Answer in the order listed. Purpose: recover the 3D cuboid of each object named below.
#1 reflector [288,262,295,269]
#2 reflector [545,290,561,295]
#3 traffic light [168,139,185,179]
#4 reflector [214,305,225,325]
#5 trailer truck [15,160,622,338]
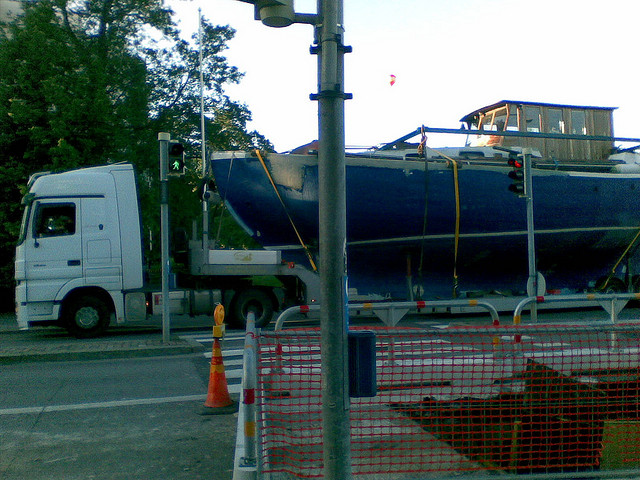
[{"bbox_3d":[-0.709,0.585,25.581,0.218,0.175,0.117,-1,-1,-39],"label":"reflector"},{"bbox_3d":[6.325,1.401,28.979,0.280,0.064,0.281,-1,2,-2],"label":"reflector"},{"bbox_3d":[-3.145,-1.754,23.017,0.350,0.858,0.862,-2,-2,-9],"label":"traffic light"},{"bbox_3d":[-1.848,1.333,19.214,0.152,0.350,0.355,-2,-2,-7],"label":"reflector"},{"bbox_3d":[0.456,0.332,28.352,17.569,3.891,3.061,-1,-8,-28],"label":"trailer truck"}]
